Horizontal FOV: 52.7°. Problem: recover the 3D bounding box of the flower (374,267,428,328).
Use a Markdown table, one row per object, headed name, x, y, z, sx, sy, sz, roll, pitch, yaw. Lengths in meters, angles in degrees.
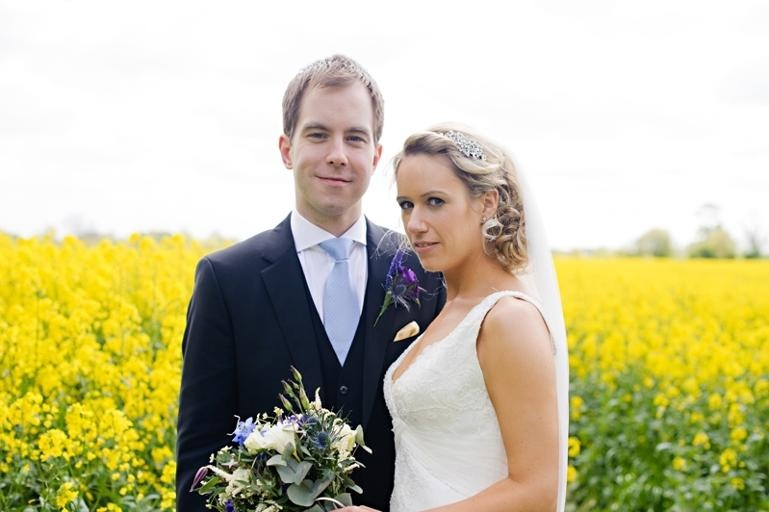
| name | x | y | z | sx | sy | sz | roll | pitch | yaw |
| --- | --- | --- | --- | --- | --- | --- | --- | --- | --- |
| flower | 0.143 | 0.293 | 5.965 | 0.427 | 0.298 | 0.249 | -48 | 1 | 6 |
